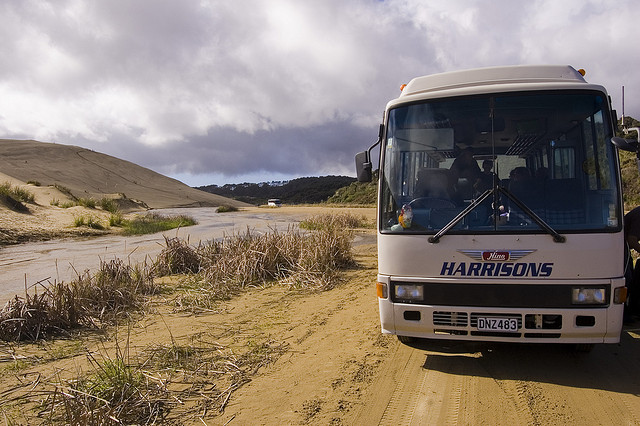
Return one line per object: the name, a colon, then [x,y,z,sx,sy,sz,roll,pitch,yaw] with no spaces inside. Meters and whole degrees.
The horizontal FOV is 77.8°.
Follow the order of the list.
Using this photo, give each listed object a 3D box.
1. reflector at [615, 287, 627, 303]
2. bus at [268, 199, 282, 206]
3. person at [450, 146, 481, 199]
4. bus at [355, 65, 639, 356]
reflector: [3.964,1.062,5.229,0.215,0.210,0.041,-6,9,-23]
bus: [-10.492,-2.957,94.521,2.177,1.513,3.119,0,-2,9]
person: [2.227,-0.675,6.105,0.421,0.770,0.184,3,-23,28]
bus: [3.191,0.201,8.001,2.983,3.256,5.571,-1,-7,16]
